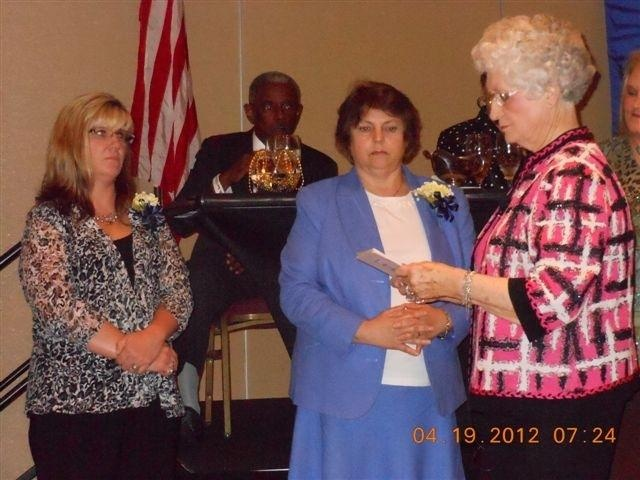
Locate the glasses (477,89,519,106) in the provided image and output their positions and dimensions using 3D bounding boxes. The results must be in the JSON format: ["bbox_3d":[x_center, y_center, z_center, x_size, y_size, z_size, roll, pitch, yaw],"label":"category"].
[{"bbox_3d":[0.727,-0.553,2.558,0.098,0.031,0.096,-3,1,-20],"label":"glasses"}]

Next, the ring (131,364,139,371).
[{"bbox_3d":[-0.795,0.543,2.812,0.027,0.021,0.027,-2,-3,0],"label":"ring"}]

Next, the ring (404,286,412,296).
[{"bbox_3d":[0.383,0.219,2.803,0.034,0.017,0.038,5,-26,9],"label":"ring"}]

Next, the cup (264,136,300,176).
[{"bbox_3d":[-0.187,-0.406,3.198,0.123,0.194,0.135,-7,-20,-3],"label":"cup"}]

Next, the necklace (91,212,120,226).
[{"bbox_3d":[-0.993,-0.097,3.015,0.087,0.012,0.117,-2,40,-47],"label":"necklace"}]

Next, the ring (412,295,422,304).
[{"bbox_3d":[0.418,0.249,2.791,0.038,0.022,0.053,3,-3,7],"label":"ring"}]
